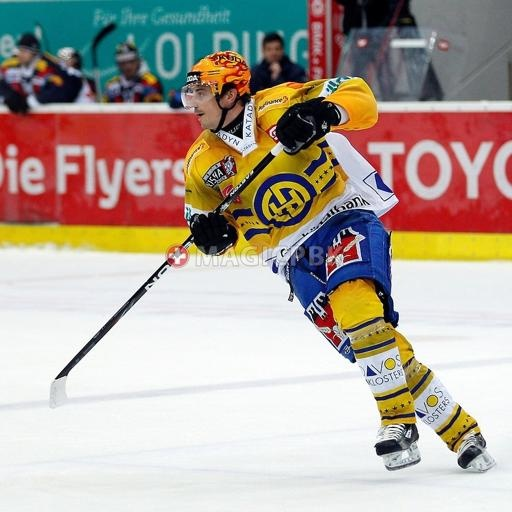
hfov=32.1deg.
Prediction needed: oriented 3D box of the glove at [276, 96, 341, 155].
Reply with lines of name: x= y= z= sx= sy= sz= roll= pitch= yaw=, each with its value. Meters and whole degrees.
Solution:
glove: x=0.161 y=-0.409 z=2.859 sx=0.209 sy=0.088 sz=0.144 roll=-23 pitch=22 yaw=16

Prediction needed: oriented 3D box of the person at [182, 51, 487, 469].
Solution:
person: x=0.262 y=-0.016 z=2.993 sx=1.065 sy=1.342 sz=0.477 roll=10 pitch=17 yaw=43

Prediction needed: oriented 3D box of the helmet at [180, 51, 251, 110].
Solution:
helmet: x=-0.128 y=-0.615 z=3.097 sx=0.269 sy=0.164 sz=0.175 roll=-1 pitch=-1 yaw=-1

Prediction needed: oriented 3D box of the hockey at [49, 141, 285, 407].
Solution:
hockey: x=-0.459 y=0.099 z=4.716 sx=2.389 sy=0.274 sz=0.254 roll=-34 pitch=-2 yaw=22

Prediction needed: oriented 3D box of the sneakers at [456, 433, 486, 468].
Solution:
sneakers: x=0.690 y=0.622 z=2.838 sx=0.094 sy=0.114 sz=0.101 roll=1 pitch=12 yaw=11

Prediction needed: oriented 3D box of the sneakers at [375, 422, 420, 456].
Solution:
sneakers: x=0.437 y=0.561 z=2.759 sx=0.126 sy=0.074 sz=0.107 roll=0 pitch=11 yaw=8
